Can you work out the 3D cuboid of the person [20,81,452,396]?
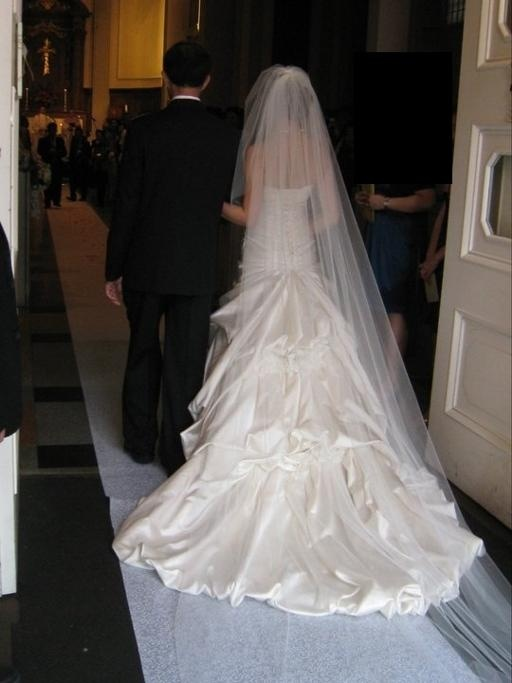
[{"bbox_3d":[-0.062,-0.176,2.280,1.079,1.867,0.913,0,23,4],"label":"person"}]

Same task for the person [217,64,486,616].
[{"bbox_3d":[0.074,-0.091,2.027,0.739,1.656,1.144,5,2,3],"label":"person"}]
